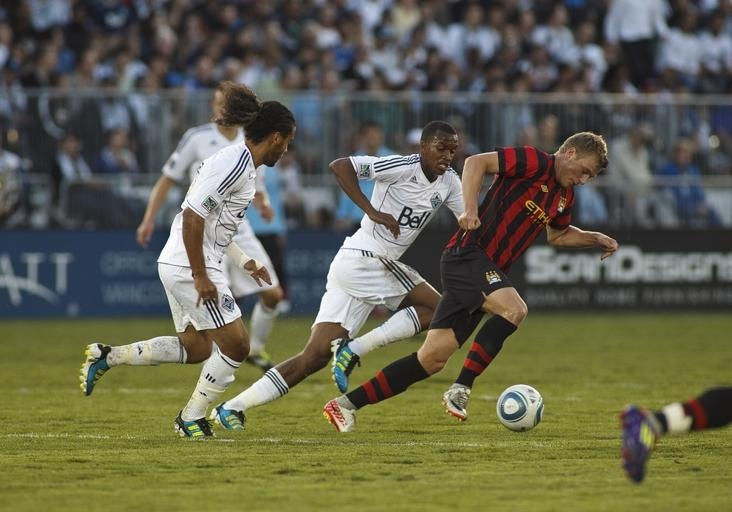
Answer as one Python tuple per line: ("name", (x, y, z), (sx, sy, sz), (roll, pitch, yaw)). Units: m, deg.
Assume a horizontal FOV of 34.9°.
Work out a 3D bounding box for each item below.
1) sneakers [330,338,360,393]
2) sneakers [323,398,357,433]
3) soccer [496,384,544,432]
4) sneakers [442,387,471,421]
("sneakers", (-0.189, 0.993, 11.017), (0.264, 0.577, 0.203), (-2, -2, 21))
("sneakers", (-0.170, 1.542, 10.844), (0.218, 0.119, 0.338), (-36, 53, -4))
("soccer", (1.459, 1.464, 11.047), (0.544, 0.503, 0.560), (-4, -10, 42))
("sneakers", (0.881, 1.366, 10.909), (0.215, 0.297, 0.610), (21, 5, 2))
